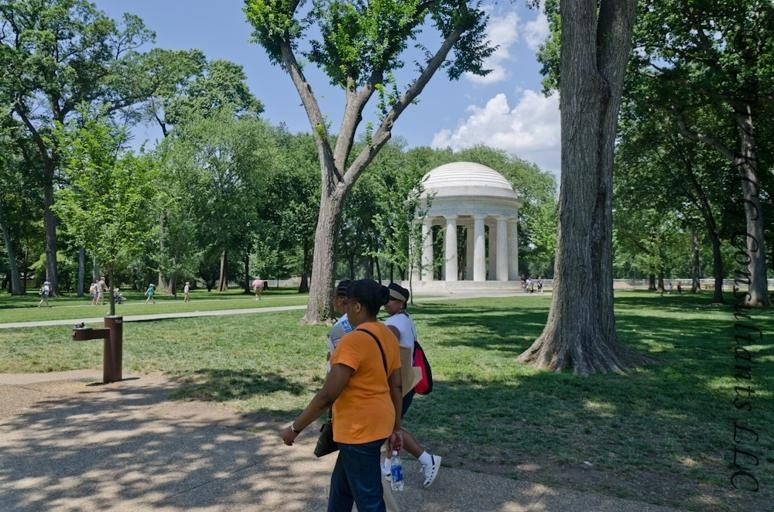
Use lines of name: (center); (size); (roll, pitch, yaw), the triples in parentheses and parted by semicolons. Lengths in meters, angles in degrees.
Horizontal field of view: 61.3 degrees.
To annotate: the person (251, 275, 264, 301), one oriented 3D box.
person: (-10.514, 2.529, 53.210); (1.463, 1.509, 0.482); (1, 6, -12)
